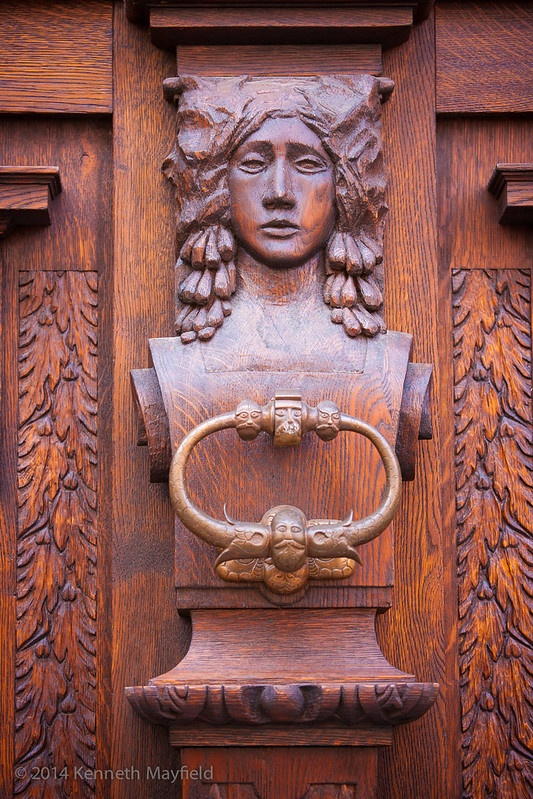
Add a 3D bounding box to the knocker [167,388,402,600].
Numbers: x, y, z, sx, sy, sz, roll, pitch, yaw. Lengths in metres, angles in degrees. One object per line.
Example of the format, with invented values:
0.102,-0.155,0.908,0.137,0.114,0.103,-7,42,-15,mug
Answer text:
0.019,0.136,2.099,0.205,0.278,0.059,0,-3,-7,knocker
